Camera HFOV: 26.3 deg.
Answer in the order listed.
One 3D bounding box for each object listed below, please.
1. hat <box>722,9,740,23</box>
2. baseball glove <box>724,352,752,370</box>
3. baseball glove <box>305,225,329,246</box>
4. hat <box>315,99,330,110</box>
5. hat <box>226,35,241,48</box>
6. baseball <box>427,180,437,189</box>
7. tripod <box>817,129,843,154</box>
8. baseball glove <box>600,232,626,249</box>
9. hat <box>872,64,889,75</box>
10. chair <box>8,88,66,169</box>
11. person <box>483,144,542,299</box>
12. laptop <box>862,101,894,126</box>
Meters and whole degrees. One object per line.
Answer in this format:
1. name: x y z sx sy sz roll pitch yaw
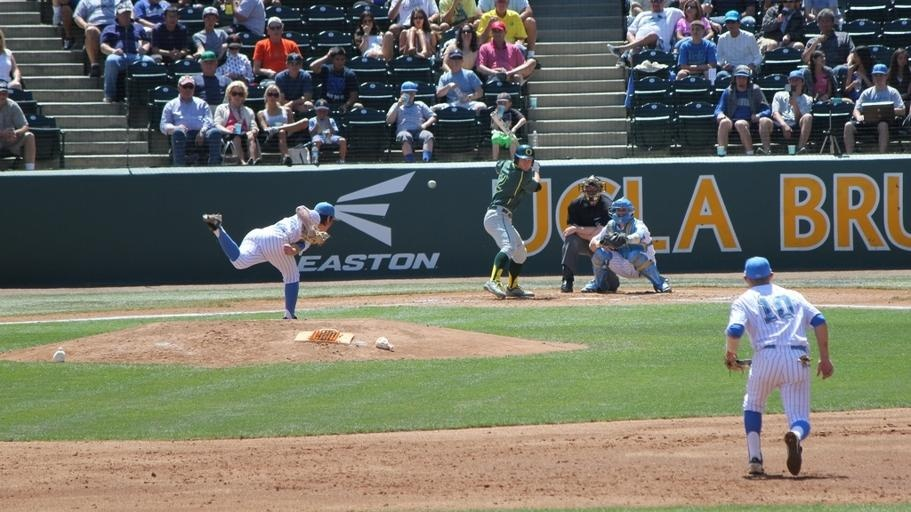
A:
1. hat: 7.385 -6.452 52.256 0.358 0.273 0.513 2 -6 19
2. baseball glove: 5.653 2.092 38.776 0.483 0.177 0.341 6 1 -32
3. baseball glove: -3.074 -0.518 44.565 0.478 0.429 0.745 1 6 24
4. hat: -3.405 -3.928 50.216 0.304 0.259 0.351 1 -3 -22
5. hat: -5.851 -5.741 51.940 0.297 0.297 0.371 1 -7 -9
6. baseball: -0.573 -1.849 50.302 0.229 0.233 0.071 -3 6 -13
7. tripod: 9.626 -2.948 50.336 0.644 0.694 0.595 -4 8 -25
8. baseball glove: 3.840 -0.369 47.421 0.625 0.399 0.228 2 7 32
9. hat: 10.865 -4.808 50.062 0.357 0.258 0.348 -1 5 3
10. chair: -10.605 -3.247 51.037 1.525 1.919 2.019 -2 3 -28
11. person: 1.353 -0.850 47.301 1.330 3.674 0.634 -2 6 0
12. laptop: 10.762 -3.646 49.788 0.782 0.493 0.505 0 -16 6
